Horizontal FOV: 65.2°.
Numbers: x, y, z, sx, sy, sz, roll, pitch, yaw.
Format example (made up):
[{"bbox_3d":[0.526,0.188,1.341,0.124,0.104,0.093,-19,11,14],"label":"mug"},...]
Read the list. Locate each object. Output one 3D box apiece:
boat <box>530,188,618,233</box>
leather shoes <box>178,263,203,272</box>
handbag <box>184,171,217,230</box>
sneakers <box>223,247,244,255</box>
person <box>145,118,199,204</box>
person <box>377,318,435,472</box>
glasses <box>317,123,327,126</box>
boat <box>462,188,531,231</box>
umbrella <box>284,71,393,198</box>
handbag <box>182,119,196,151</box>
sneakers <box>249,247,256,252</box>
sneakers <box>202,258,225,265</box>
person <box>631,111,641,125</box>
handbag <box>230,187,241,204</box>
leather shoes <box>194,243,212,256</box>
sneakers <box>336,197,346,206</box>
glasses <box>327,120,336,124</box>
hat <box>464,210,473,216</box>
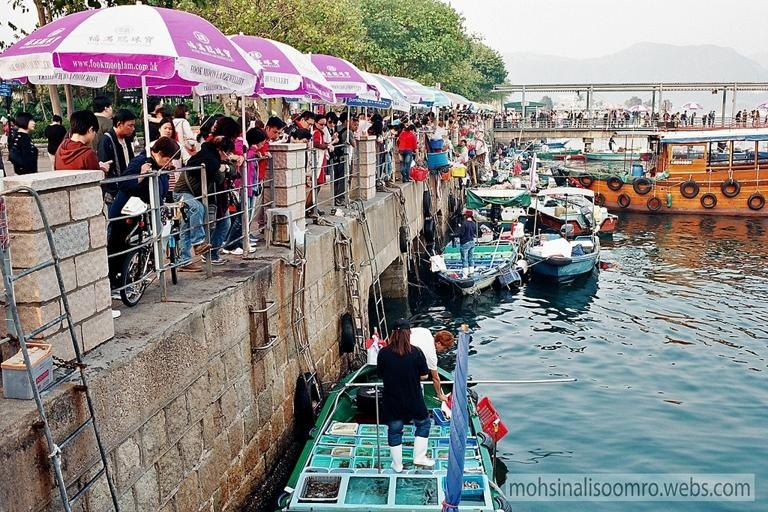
[{"bbox_3d":[10.108,-2.207,32.948,4.319,2.400,3.447,1,15,8],"label":"boat"},{"bbox_3d":[-3.208,0.211,10.046,0.384,0.169,0.159,-2,4,4],"label":"leather shoes"},{"bbox_3d":[-2.849,-0.910,9.894,0.327,0.852,0.687,-9,14,-20],"label":"handbag"},{"bbox_3d":[-2.782,-0.071,11.243,0.383,0.180,0.164,-2,2,8],"label":"sneakers"},{"bbox_3d":[-3.793,-1.674,10.361,0.623,1.922,0.682,-18,53,-40],"label":"person"},{"bbox_3d":[0.323,2.301,9.553,0.840,2.349,0.622,-1,14,-1],"label":"person"},{"bbox_3d":[-1.555,-3.266,14.933,0.188,0.055,0.186,-3,6,-26],"label":"glasses"},{"bbox_3d":[6.298,-2.737,33.310,3.107,1.738,3.893,-8,16,-24],"label":"boat"},{"bbox_3d":[-0.661,-3.811,18.328,4.114,4.517,3.888,2,5,2],"label":"umbrella"},{"bbox_3d":[-3.513,-2.174,10.911,0.144,0.416,0.317,6,10,5],"label":"handbag"},{"bbox_3d":[-2.468,-0.107,11.276,0.083,0.050,0.137,0,5,-4],"label":"sneakers"},{"bbox_3d":[-2.963,0.116,10.382,0.407,0.178,0.152,0,5,2],"label":"sneakers"},{"bbox_3d":[31.294,-17.081,75.007,0.926,1.572,2.769,4,15,20],"label":"person"},{"bbox_3d":[-2.570,-1.040,10.418,0.195,0.277,0.095,0,6,-25],"label":"handbag"},{"bbox_3d":[-2.882,-0.100,9.592,0.196,0.068,0.141,-16,22,11],"label":"leather shoes"},{"bbox_3d":[-1.234,-1.521,16.718,0.249,0.176,0.413,-3,15,-7],"label":"sneakers"},{"bbox_3d":[-1.417,-3.578,16.107,0.149,0.051,0.153,-2,5,-30],"label":"glasses"},{"bbox_3d":[3.205,-1.616,22.893,0.293,0.233,0.626,1,15,7],"label":"hat"}]
